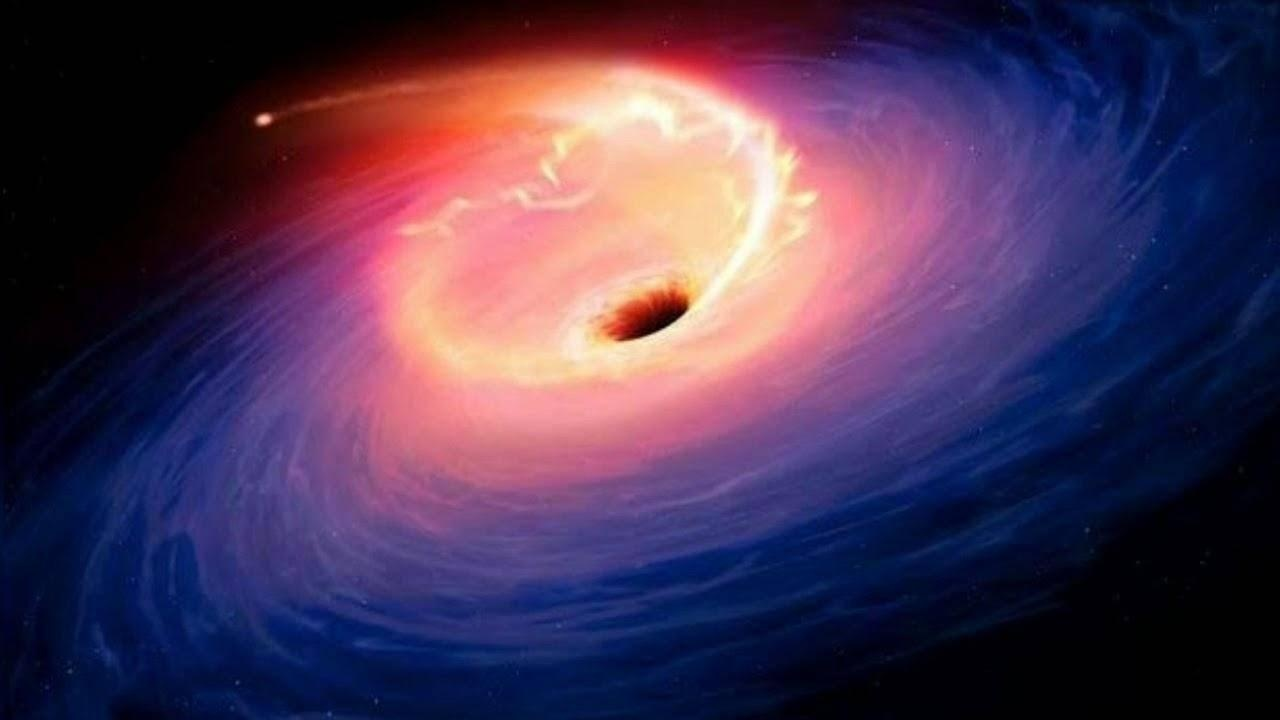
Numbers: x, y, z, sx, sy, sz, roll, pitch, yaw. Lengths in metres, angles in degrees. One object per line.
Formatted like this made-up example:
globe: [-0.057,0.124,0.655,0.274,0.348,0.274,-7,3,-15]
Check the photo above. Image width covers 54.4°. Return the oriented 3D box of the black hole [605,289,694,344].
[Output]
black hole: [0.014,-0.088,2.392,0.151,0.036,0.092,-26,-58,-6]
